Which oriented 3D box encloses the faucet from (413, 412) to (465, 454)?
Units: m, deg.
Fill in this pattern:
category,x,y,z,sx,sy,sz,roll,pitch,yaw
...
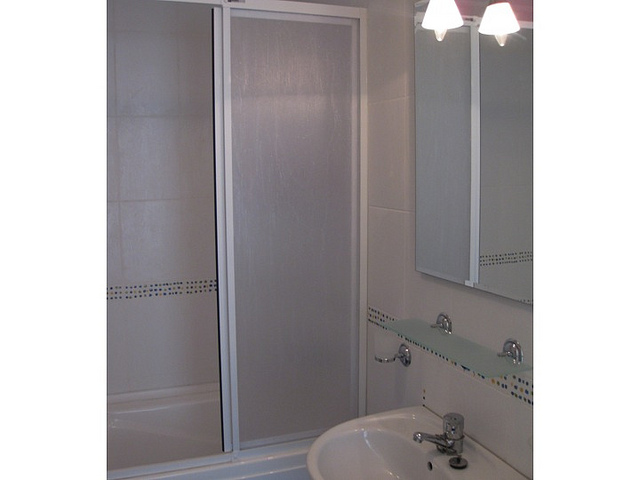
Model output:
category,x,y,z,sx,sy,sz,roll,pitch,yaw
faucet,0.284,0.444,1.366,0.139,0.061,0.112,2,-88,11
